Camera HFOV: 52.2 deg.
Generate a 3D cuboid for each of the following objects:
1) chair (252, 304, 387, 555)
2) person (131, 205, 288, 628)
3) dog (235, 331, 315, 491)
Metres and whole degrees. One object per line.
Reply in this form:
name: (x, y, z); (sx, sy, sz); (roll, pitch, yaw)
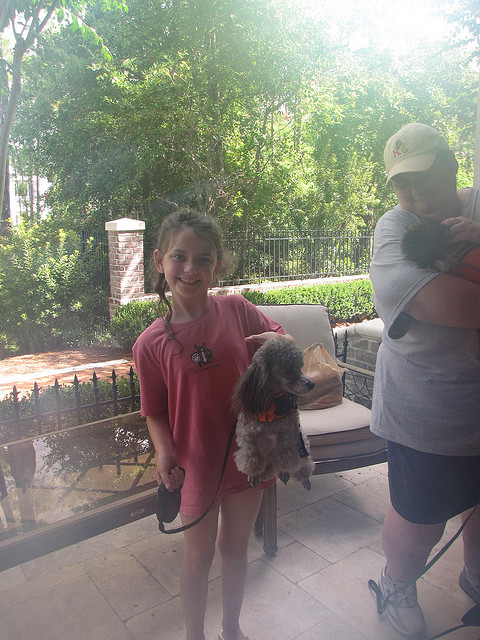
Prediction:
chair: (0.560, 0.564, 3.121); (0.803, 1.197, 1.248); (-3, 9, -14)
person: (-0.110, 0.376, 1.683); (0.479, 1.486, 0.264); (-3, 6, -15)
dog: (0.098, 0.301, 1.466); (0.228, 0.483, 0.179); (0, 6, 8)
